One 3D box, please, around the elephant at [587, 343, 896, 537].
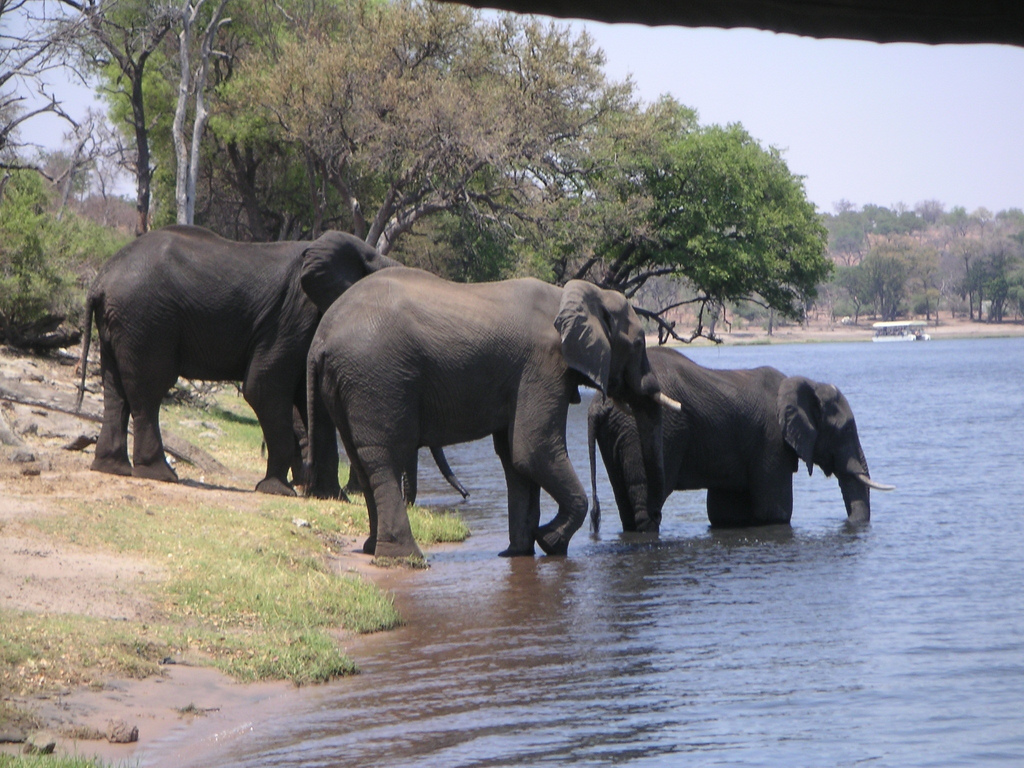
[{"bbox_3d":[2.851,0.846,20.876,4.568,2.864,2.120,-1,0,-19],"label":"elephant"}]
